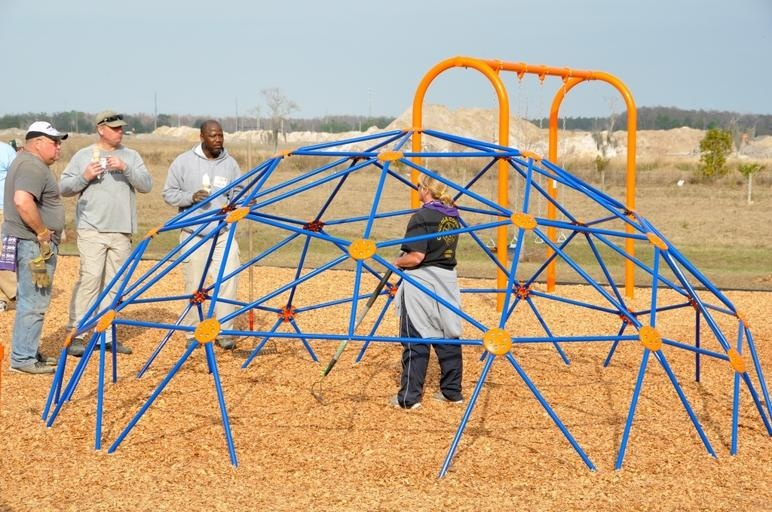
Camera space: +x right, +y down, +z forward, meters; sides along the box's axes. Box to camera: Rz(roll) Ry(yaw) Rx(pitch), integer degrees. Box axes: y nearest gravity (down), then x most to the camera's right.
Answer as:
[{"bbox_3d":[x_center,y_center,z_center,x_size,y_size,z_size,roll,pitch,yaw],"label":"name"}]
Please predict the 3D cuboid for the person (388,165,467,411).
[{"bbox_3d":[0.473,0.420,12.547,0.753,2.490,0.595,1,10,0],"label":"person"}]

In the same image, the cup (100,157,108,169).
[{"bbox_3d":[-3.178,-1.025,13.191,0.089,0.132,0.131,-2,10,-15],"label":"cup"}]

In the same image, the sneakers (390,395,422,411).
[{"bbox_3d":[0.195,1.596,12.766,0.356,0.164,0.135,14,14,36],"label":"sneakers"}]

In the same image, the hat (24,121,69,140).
[{"bbox_3d":[-3.761,-1.367,13.034,0.388,0.167,0.248,1,5,-16],"label":"hat"}]

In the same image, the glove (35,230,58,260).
[{"bbox_3d":[-3.725,-0.095,12.977,0.255,0.445,0.336,0,-4,-11],"label":"glove"}]

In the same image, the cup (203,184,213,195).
[{"bbox_3d":[-2.064,-0.755,13.517,0.113,0.130,0.113,2,9,0],"label":"cup"}]

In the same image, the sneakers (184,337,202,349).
[{"bbox_3d":[-2.147,0.964,12.979,0.079,0.059,0.258,-41,17,-14],"label":"sneakers"}]

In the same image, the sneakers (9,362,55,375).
[{"bbox_3d":[-3.958,1.225,13.119,0.471,0.189,0.167,0,5,-9],"label":"sneakers"}]

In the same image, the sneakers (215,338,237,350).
[{"bbox_3d":[-1.927,1.029,14.010,0.222,0.117,0.152,17,19,15],"label":"sneakers"}]

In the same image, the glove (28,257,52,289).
[{"bbox_3d":[-3.792,0.185,12.947,0.165,0.370,0.298,5,11,20],"label":"glove"}]

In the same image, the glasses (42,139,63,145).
[{"bbox_3d":[-3.713,-1.253,13.005,0.125,0.037,0.122,0,1,20],"label":"glasses"}]

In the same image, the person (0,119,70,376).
[{"bbox_3d":[-3.930,-0.073,13.040,0.541,2.771,0.625,4,11,16],"label":"person"}]
